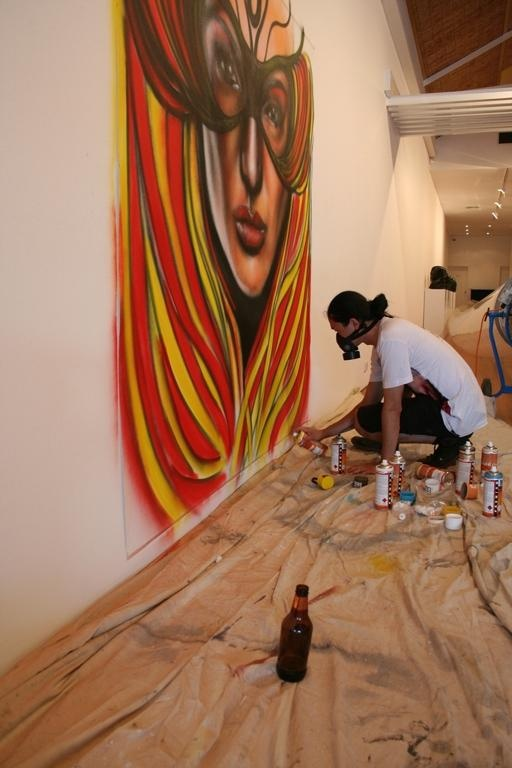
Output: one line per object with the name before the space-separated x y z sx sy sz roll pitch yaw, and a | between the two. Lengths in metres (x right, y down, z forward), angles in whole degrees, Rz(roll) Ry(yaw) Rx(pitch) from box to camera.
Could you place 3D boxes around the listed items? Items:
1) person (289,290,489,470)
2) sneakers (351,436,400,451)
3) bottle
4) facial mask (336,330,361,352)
person | 0.679 -0.105 2.902 1.015 1.122 0.696 8 23 26
sneakers | 0.670 0.358 3.175 0.181 0.088 0.069 10 -18 23
bottle | 0.082 0.519 1.159 0.074 0.258 0.175 2 7 5
facial mask | 0.407 -0.191 2.401 0.076 0.087 0.087 -3 6 0
